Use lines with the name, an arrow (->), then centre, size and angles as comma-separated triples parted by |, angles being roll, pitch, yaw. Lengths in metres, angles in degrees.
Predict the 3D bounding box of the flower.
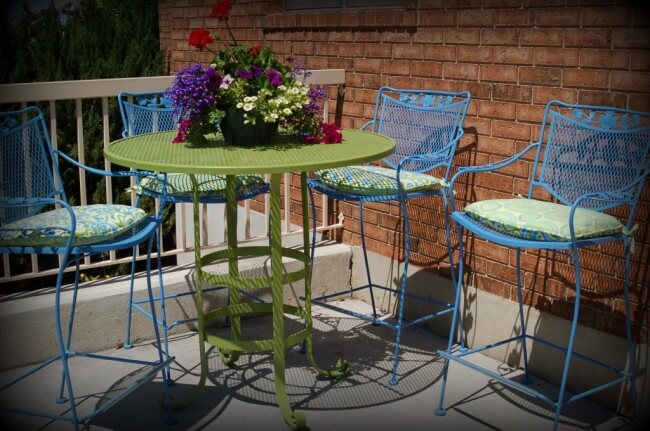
flower -> -0.388, -0.658, 2.880 | 0.933, 0.551, 0.389 | -5, 17, -18
